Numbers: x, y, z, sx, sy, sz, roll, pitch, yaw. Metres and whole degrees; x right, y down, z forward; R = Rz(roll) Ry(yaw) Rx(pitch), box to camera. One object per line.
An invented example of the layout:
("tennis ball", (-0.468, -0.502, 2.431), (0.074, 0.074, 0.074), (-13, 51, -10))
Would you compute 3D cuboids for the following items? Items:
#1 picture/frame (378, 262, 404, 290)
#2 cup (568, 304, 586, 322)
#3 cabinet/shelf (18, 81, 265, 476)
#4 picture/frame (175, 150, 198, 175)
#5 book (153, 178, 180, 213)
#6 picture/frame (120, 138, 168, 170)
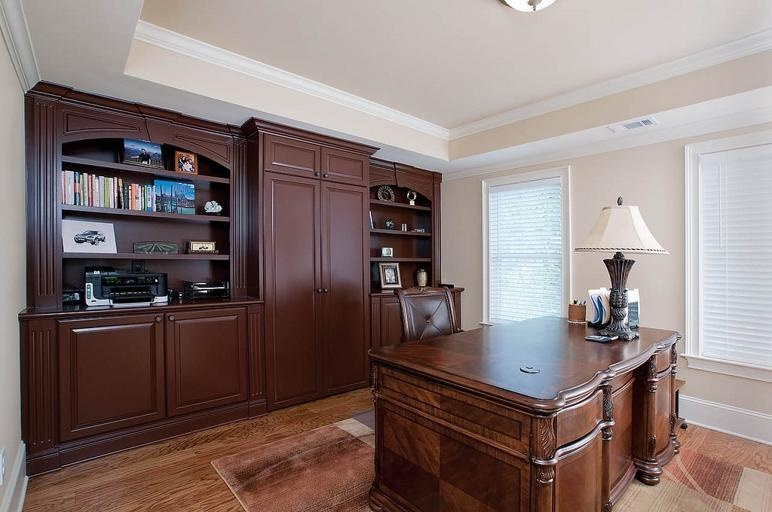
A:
("picture/frame", (0.050, 0.259, 6.218), (0.343, 0.333, 0.035), (5, -17, -39))
("cup", (1.745, 0.536, 4.502), (0.164, 0.155, 0.152), (1, -5, 0))
("cabinet/shelf", (-2.276, 0.062, 4.548), (2.060, 3.141, 1.121), (-8, 17, -27))
("picture/frame", (-1.980, -0.924, 4.847), (0.253, 0.243, 0.026), (6, -12, -41))
("book", (-2.145, -0.564, 4.819), (0.223, 0.368, 0.039), (-2, 2, -37))
("picture/frame", (-2.295, -0.962, 4.613), (0.335, 0.227, 0.047), (6, -12, -43))
